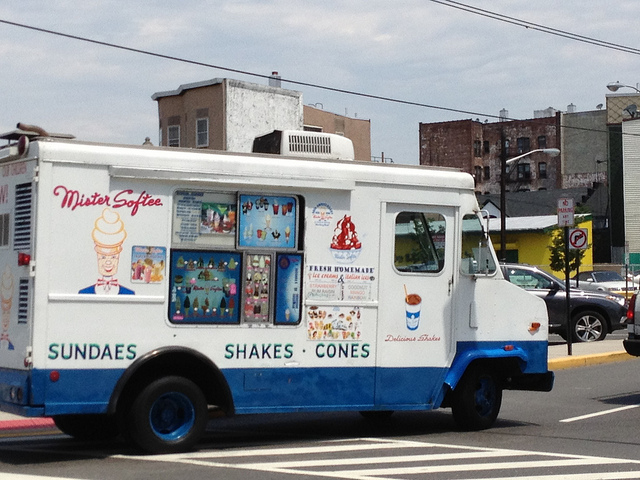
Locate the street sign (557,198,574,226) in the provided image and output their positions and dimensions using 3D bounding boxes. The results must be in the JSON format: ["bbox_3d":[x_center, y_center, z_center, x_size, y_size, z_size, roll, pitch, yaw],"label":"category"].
[{"bbox_3d":[5.211,-0.566,21.973,0.285,0.567,0.822,2,2,9],"label":"street sign"}]

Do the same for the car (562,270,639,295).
[{"bbox_3d":[10.214,1.571,37.443,1.204,0.805,2.063,0,-4,-37],"label":"car"}]

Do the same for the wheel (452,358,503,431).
[{"bbox_3d":[2.243,2.221,14.779,0.896,1.016,0.316,5,-7,-38],"label":"wheel"}]

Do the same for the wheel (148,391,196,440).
[{"bbox_3d":[-1.859,2.179,12.889,0.526,0.631,0.212,2,0,-13],"label":"wheel"}]

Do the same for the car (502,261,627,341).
[{"bbox_3d":[6.036,1.556,23.910,3.337,1.691,1.542,-1,2,-9],"label":"car"}]

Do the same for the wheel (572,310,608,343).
[{"bbox_3d":[6.424,2.042,24.616,0.585,0.704,0.232,-5,4,5],"label":"wheel"}]
